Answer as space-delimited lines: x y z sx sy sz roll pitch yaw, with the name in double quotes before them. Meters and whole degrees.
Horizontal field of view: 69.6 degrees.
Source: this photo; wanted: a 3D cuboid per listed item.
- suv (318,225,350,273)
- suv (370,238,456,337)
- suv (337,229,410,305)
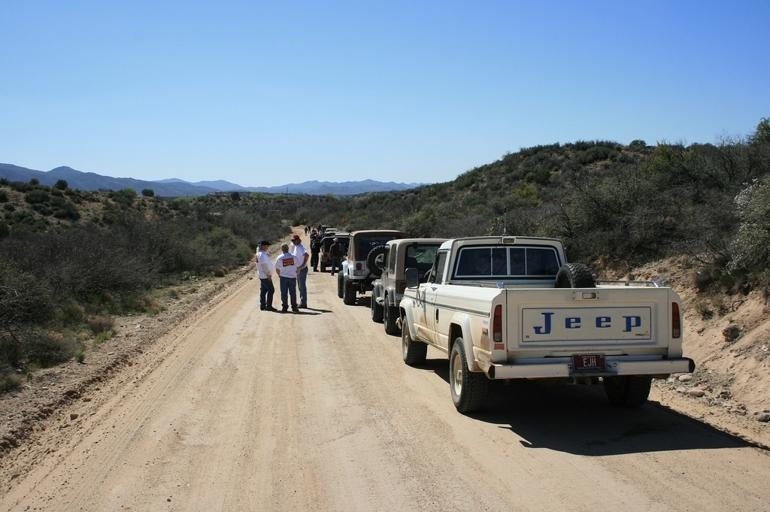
"suv" -2.830 -0.337 29.657 1.726 1.898 3.188 0 11 -8
"suv" 0.590 0.610 14.913 1.568 1.676 2.912 0 4 -12
"suv" -0.568 0.241 19.655 1.650 1.873 3.213 0 7 -11
